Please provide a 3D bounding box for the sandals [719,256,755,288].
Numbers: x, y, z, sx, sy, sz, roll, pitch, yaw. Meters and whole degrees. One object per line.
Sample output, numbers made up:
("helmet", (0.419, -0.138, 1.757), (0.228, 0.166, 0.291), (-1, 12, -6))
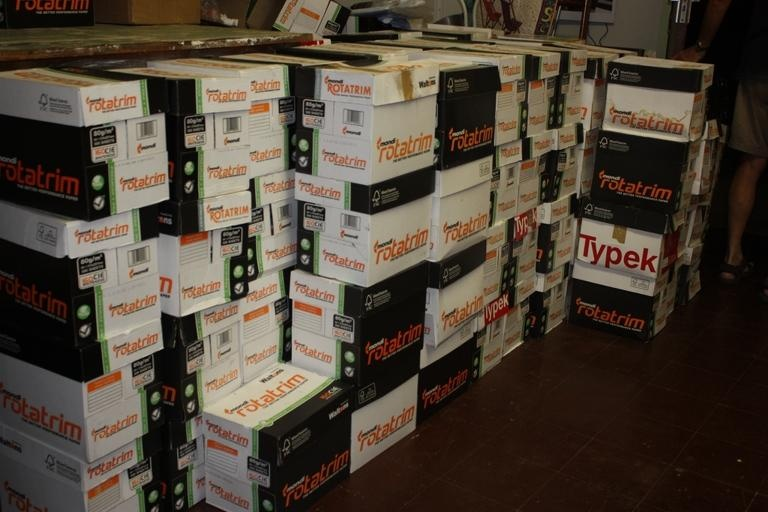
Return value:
("sandals", (2.783, 0.096, 4.857), (0.382, 0.156, 0.140), (-26, 28, -35))
